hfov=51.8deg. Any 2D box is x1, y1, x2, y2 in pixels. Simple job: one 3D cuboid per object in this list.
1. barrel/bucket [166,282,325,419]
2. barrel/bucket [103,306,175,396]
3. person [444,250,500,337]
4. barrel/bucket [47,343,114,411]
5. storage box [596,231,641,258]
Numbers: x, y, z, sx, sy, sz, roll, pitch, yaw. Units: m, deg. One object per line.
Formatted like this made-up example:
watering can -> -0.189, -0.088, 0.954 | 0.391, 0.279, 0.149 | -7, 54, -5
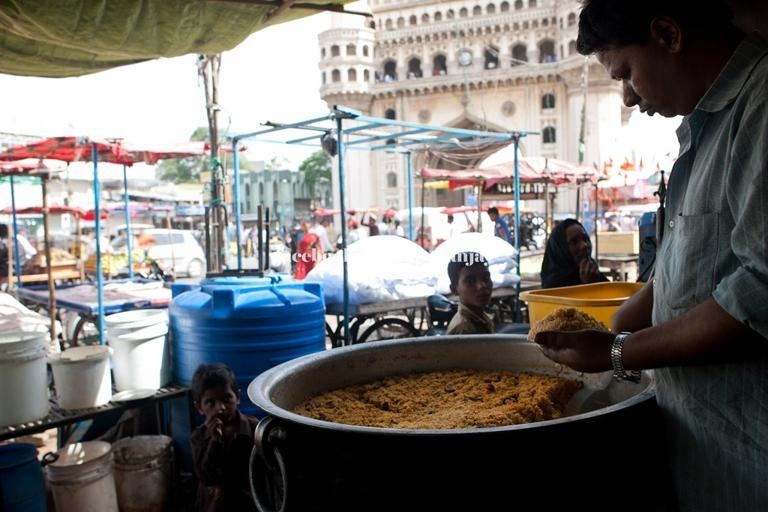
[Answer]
barrel/bucket -> -1.000, 0.700, 5.929 | 0.950, 1.089, 0.978 | -1, -4, 0
barrel/bucket -> -1.636, 0.673, 5.654 | 0.475, 0.547, 0.521 | -3, 3, 0
person -> 0.595, 0.268, 5.481 | 0.314, 0.540, 0.866 | -3, 6, 7
barrel/bucket -> -1.950, 0.766, 5.055 | 0.361, 0.352, 0.372 | -1, -2, 0
storage box -> 4.232, -0.204, 14.294 | 0.525, 0.340, 0.545 | -1, -2, 25
